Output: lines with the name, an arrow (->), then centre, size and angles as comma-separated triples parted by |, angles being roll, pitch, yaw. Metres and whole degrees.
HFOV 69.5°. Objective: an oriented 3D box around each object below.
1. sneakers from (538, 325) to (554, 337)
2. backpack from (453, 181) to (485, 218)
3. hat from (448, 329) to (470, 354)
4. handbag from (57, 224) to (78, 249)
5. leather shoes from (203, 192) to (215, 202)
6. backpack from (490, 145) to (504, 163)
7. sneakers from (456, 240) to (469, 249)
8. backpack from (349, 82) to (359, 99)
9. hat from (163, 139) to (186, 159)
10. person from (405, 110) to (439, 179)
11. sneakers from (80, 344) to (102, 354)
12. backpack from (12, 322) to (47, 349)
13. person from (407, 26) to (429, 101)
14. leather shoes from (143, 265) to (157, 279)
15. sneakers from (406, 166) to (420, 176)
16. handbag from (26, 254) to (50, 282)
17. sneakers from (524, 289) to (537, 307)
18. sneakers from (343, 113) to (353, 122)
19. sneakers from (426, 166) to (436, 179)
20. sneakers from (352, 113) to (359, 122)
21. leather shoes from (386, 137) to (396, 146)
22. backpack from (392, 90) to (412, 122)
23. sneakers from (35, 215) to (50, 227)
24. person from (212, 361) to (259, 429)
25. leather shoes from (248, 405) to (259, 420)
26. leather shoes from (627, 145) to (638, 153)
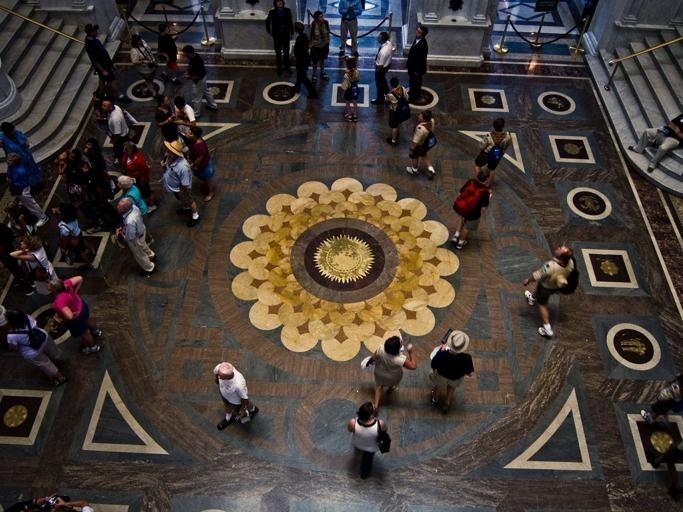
sneakers -> 3.713, 1.360, 8.902 | 0.098, 0.170, 0.177 | -19, 49, -12
backpack -> 2.473, -1.044, 9.445 | 0.590, 0.605, 0.429 | -35, 71, -29
hat -> 1.766, 1.296, 7.439 | 0.330, 0.122, 0.360 | 34, 85, 13
handbag -> -5.084, -0.347, 9.112 | 0.244, 0.367, 0.374 | 0, 63, -8
leather shoes -> -2.894, -1.245, 10.728 | 0.124, 0.066, 0.250 | 37, 79, 11
backpack -> 3.277, -2.144, 10.386 | 0.295, 0.382, 0.228 | -5, 58, -7
sneakers -> 2.433, -0.230, 9.987 | 0.095, 0.112, 0.281 | 1, 21, 26
backpack -> 0.313, -3.860, 11.716 | 0.126, 0.567, 0.264 | 29, 60, 17
hat -> -3.201, -2.030, 9.466 | 0.122, 0.332, 0.315 | -41, 81, 6
person -> 1.833, -2.410, 10.670 | 0.641, 1.602, 0.553 | 9, 57, 5
sneakers -> -4.411, 1.632, 8.626 | 0.345, 0.141, 0.136 | -5, 64, 1
backpack -> -4.838, 1.248, 7.679 | 0.426, 0.387, 0.280 | -3, 53, -12
person -> 1.877, -4.709, 12.194 | 0.494, 1.846, 0.776 | 9, 57, 4
leather shoes -> -3.750, 0.300, 9.611 | 0.239, 0.342, 0.112 | -19, 97, 9
sneakers -> 1.610, -1.917, 11.178 | 0.291, 0.171, 0.142 | -13, 58, -23
handbag -> -5.311, 0.210, 8.576 | 0.286, 0.415, 0.174 | -23, 89, -40
sneakers -> 3.570, 0.792, 9.257 | 0.152, 0.105, 0.263 | -7, 59, 9
sneakers -> 0.177, -3.448, 12.251 | 0.238, 0.150, 0.286 | -4, 56, -5
sneakers -> 2.031, -1.853, 11.081 | 0.117, 0.339, 0.142 | -15, 68, -1
sneakers -> 0.349, -3.414, 12.249 | 0.127, 0.085, 0.228 | -1, 52, -3
leather shoes -> 1.193, -2.705, 11.764 | 0.248, 0.168, 0.108 | 6, 90, 1
backpack -> 1.360, -3.273, 10.996 | 0.405, 0.671, 0.271 | -14, 58, -11
sneakers -> -6.265, -0.684, 10.222 | 0.101, 0.112, 0.270 | 36, 74, 3
person -> -1.705, 2.250, 7.802 | 0.469, 1.099, 0.538 | -34, 78, -19
leather shoes -> -1.432, 2.530, 8.006 | 0.093, 0.104, 0.244 | 4, 50, 13
leather shoes -> 6.896, -2.513, 11.629 | 0.173, 0.086, 0.269 | 21, 12, -32
